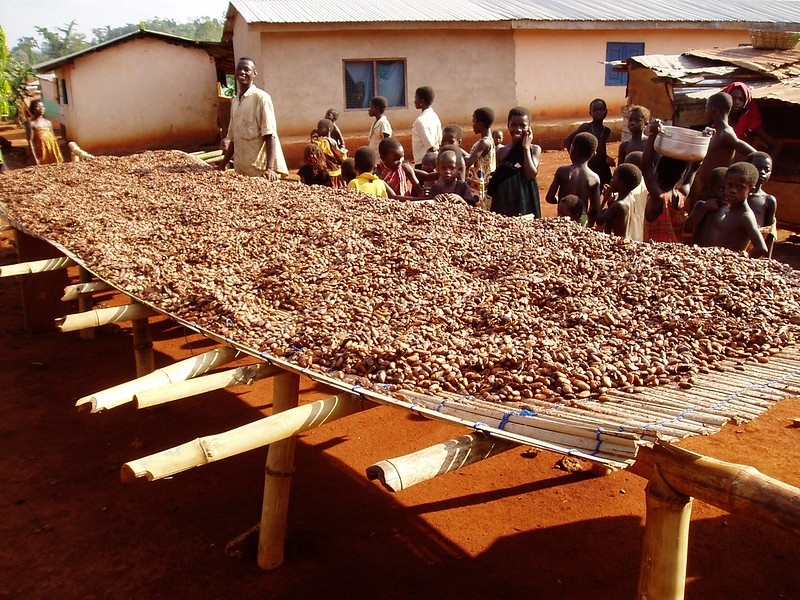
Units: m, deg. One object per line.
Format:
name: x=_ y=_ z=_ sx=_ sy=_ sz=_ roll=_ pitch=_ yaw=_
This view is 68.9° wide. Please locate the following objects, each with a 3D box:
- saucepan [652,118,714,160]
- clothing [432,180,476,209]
saucepan: x=2.293 y=-1.377 z=4.794 sx=0.415 sy=0.149 sz=0.340 roll=2 pitch=26 yaw=-7
clothing: x=0.523 y=-1.025 z=5.467 sx=0.382 sy=0.160 sz=0.429 roll=8 pitch=12 yaw=44
